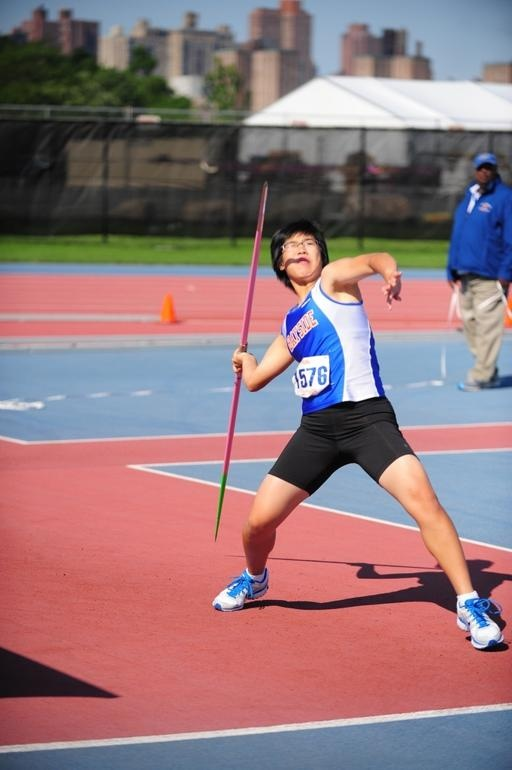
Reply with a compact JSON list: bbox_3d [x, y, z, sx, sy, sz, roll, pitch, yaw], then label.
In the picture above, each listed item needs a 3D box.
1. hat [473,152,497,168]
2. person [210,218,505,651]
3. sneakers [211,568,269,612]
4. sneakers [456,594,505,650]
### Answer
[{"bbox_3d":[1.853,-1.815,7.976,0.159,0.131,0.213,4,11,17],"label":"hat"},{"bbox_3d":[0.323,0.219,3.578,1.129,1.412,0.422,9,14,36],"label":"person"},{"bbox_3d":[-0.051,0.779,3.905,0.277,0.120,0.107,-22,45,-37],"label":"sneakers"},{"bbox_3d":[0.810,0.829,3.522,0.128,0.124,0.269,-7,7,-10],"label":"sneakers"}]
